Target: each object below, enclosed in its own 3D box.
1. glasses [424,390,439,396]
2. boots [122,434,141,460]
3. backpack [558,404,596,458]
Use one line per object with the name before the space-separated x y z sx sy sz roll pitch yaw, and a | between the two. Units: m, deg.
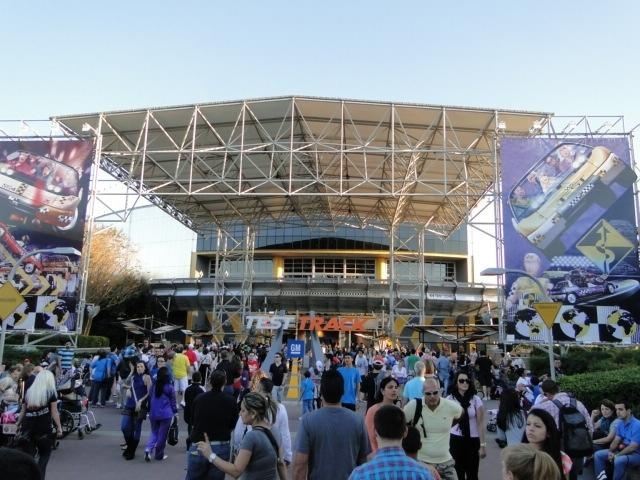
glasses | 1.575 2.141 7.175 0.195 0.086 0.092 3 -13 -2
boots | -4.035 4.359 10.839 0.261 0.461 0.517 8 -14 -20
backpack | 3.677 2.749 7.314 0.410 0.707 0.278 -2 -15 19
